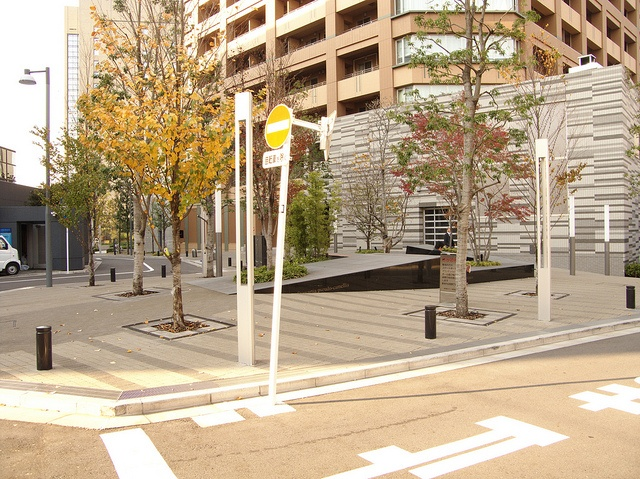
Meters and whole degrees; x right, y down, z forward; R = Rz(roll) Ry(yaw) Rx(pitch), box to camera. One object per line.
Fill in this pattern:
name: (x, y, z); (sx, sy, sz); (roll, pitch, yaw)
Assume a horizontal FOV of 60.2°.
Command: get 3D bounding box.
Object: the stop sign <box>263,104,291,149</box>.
stop sign: (-0.758, -2.014, 9.890); (0.630, 0.772, 0.246); (6, 13, 34)
